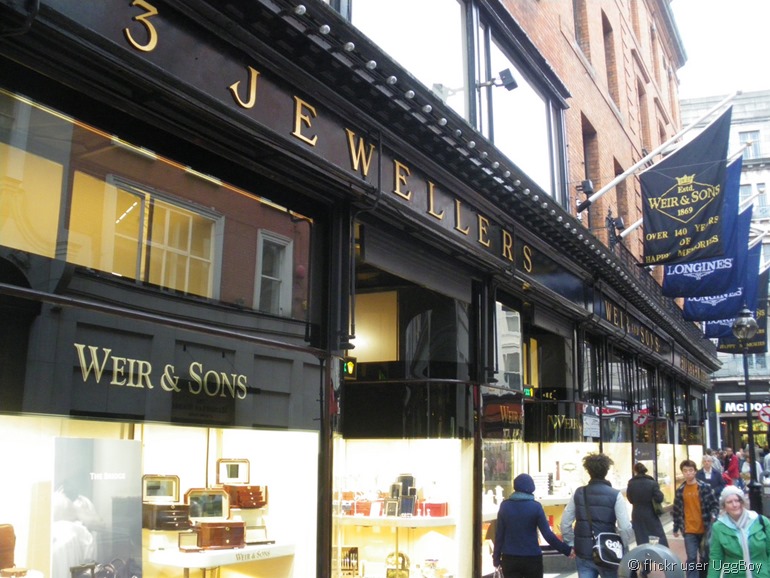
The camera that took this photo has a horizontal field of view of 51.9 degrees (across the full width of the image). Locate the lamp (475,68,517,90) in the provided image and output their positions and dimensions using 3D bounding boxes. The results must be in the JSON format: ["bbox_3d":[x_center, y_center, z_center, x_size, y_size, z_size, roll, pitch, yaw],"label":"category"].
[{"bbox_3d":[1.772,-3.222,12.462,0.623,0.409,0.311,-12,-50,22],"label":"lamp"}]

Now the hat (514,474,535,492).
[{"bbox_3d":[1.699,2.333,9.660,0.164,0.206,0.246,3,-2,10],"label":"hat"}]

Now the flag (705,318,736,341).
[{"bbox_3d":[9.649,1.103,22.766,0.099,0.667,0.863,30,-32,-35],"label":"flag"}]
